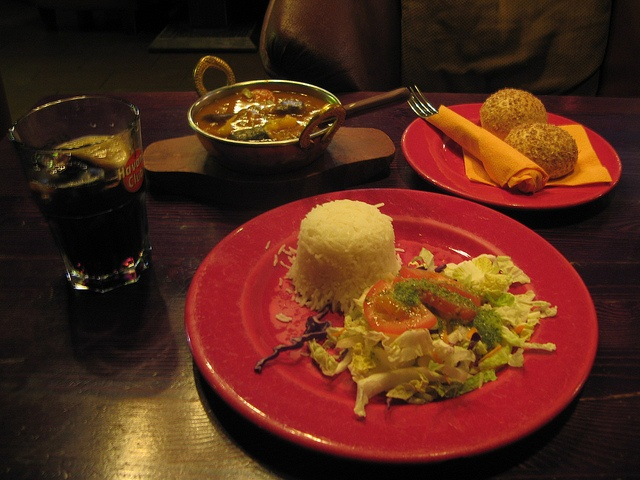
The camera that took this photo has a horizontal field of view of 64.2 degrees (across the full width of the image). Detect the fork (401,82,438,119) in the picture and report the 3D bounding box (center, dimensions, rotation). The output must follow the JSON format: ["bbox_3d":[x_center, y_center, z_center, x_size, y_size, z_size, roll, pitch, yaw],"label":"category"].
[{"bbox_3d":[0.412,-0.607,2.238,0.068,0.054,0.295,-16,43,-22],"label":"fork"}]

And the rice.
[{"bbox_3d":[0.058,0.043,1.558,0.344,0.217,0.328,-35,55,-20],"label":"rice"}]

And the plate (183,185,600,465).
[{"bbox_3d":[0.186,0.172,1.415,1.081,0.146,0.892,-9,42,-8],"label":"plate"}]
